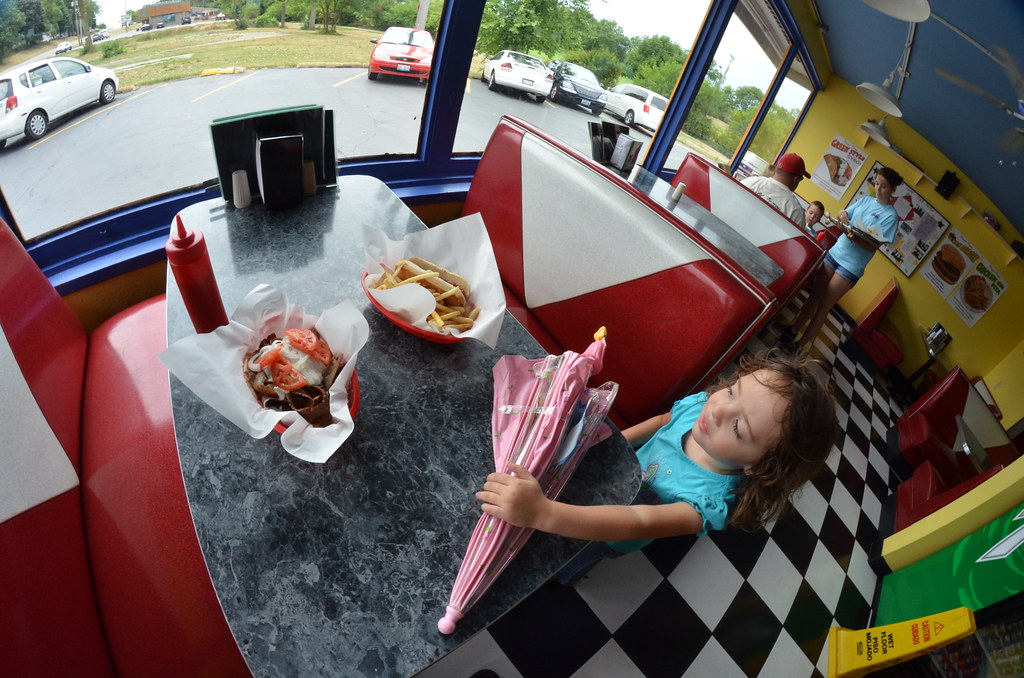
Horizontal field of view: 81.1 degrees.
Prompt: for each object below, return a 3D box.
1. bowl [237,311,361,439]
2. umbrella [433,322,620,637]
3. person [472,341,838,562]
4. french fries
[{"bbox_3d":[-0.798,0.123,2.441,0.410,0.177,0.494,-10,53,-32],"label":"bowl"},{"bbox_3d":[0.044,0.443,2.484,0.484,0.298,1.322,34,68,-14],"label":"umbrella"},{"bbox_3d":[0.601,0.479,2.686,1.482,0.619,0.764,-19,39,-14],"label":"person"},{"bbox_3d":[-0.328,-0.161,2.686,0.388,0.143,0.297,45,44,13],"label":"french fries"}]
